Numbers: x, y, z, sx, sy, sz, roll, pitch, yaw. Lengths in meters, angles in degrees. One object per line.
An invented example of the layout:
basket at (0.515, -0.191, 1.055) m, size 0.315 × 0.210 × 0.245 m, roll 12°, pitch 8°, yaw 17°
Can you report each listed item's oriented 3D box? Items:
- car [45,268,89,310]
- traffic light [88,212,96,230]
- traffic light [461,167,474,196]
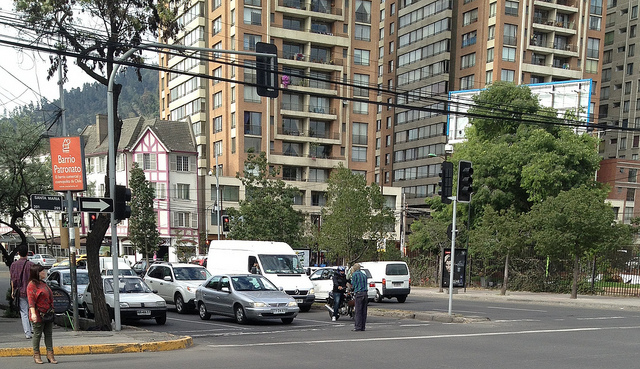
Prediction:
car at (-22.569, 9.303, 98.124) m, size 2.921 × 2.314 × 4.709 m, roll 5°, pitch -9°, yaw -41°
traffic light at (-19.363, 3.147, 91.934) m, size 0.586 × 1.408 × 0.485 m, roll 1°, pitch -7°, yaw -11°
traffic light at (12.876, -0.225, 95.595) m, size 0.968 × 2.488 × 0.583 m, roll -1°, pitch -6°, yaw 5°
